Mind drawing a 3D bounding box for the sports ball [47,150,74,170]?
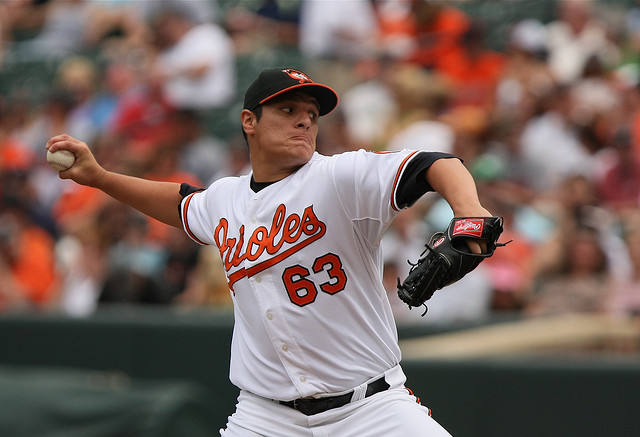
[{"bbox_3d":[-1.813,-0.392,5.910,0.141,0.131,0.141,2,-23,1],"label":"sports ball"}]

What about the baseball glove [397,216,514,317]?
[{"bbox_3d":[0.742,0.234,4.959,0.254,0.687,0.474,39,11,-7],"label":"baseball glove"}]

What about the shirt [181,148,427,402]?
[{"bbox_3d":[-0.110,0.426,5.570,1.862,1.173,0.678,-10,-12,33],"label":"shirt"}]
